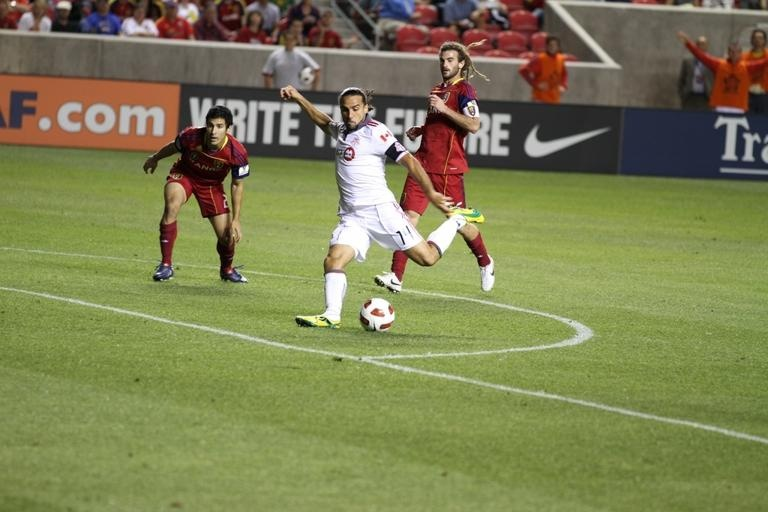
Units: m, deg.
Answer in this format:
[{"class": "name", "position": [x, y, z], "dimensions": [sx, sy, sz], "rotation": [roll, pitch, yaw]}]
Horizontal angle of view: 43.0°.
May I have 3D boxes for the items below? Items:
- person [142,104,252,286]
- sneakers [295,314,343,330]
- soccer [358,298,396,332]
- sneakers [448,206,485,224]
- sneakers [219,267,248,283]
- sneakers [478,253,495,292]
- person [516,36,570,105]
[{"class": "person", "position": [-2.012, -0.678, 10.649], "dimensions": [1.075, 1.916, 0.899], "rotation": [3, 13, 3]}, {"class": "sneakers", "position": [-0.591, 0.592, 8.920], "dimensions": [0.418, 0.171, 0.147], "rotation": [8, -4, -13]}, {"class": "soccer", "position": [-0.067, 0.546, 8.983], "dimensions": [0.306, 0.286, 0.197], "rotation": [1, 13, -3]}, {"class": "sneakers", "position": [0.893, -0.411, 10.399], "dimensions": [0.465, 0.196, 0.164], "rotation": [3, 17, -39]}, {"class": "sneakers", "position": [-1.657, 0.206, 10.749], "dimensions": [0.331, 0.163, 0.137], "rotation": [1, 16, 3]}, {"class": "sneakers", "position": [1.120, 0.185, 10.825], "dimensions": [0.151, 0.420, 0.185], "rotation": [-3, 0, 26]}, {"class": "person", "position": [3.486, -3.990, 20.859], "dimensions": [0.879, 1.386, 1.171], "rotation": [-3, 14, -19]}]
